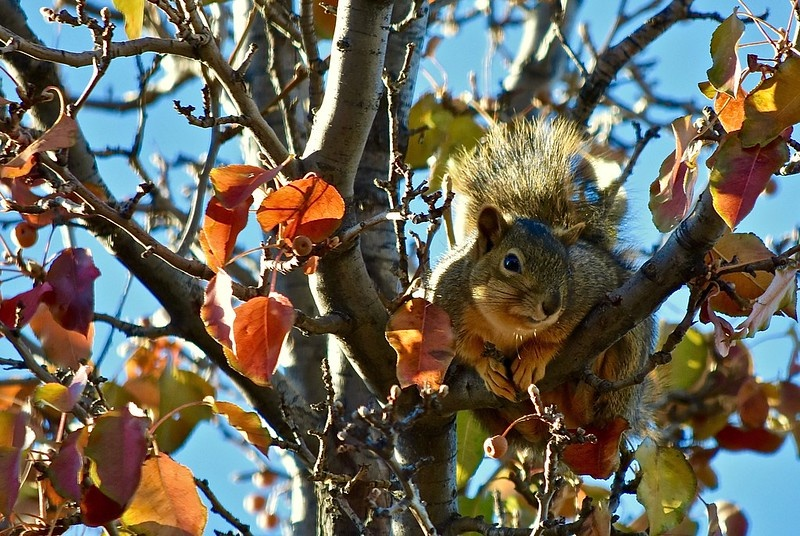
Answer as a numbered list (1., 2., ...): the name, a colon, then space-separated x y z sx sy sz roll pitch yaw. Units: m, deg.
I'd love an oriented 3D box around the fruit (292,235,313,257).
1. fruit: -0.422 -0.096 6.311 0.084 0.047 0.086 -37 -83 -6
